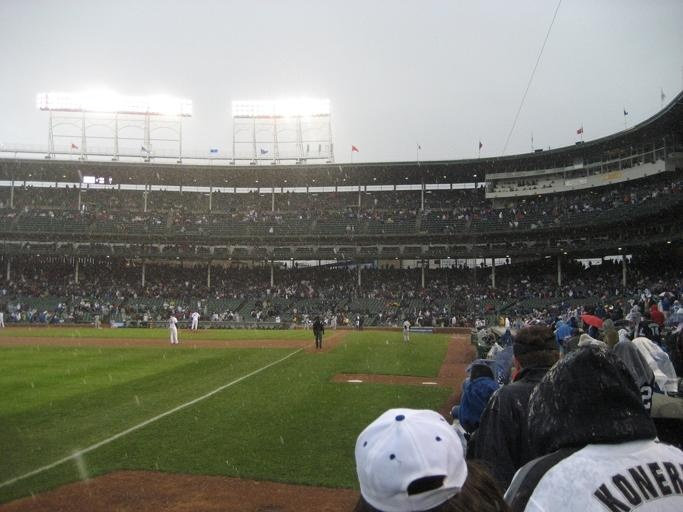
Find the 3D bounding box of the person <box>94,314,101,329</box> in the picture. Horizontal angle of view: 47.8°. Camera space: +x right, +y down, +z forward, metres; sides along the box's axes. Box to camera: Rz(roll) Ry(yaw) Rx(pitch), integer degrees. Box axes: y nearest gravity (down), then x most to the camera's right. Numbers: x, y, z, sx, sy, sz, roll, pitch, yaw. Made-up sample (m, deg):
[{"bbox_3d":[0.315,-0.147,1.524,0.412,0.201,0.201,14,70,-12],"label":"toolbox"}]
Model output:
[{"bbox_3d":[-18.238,4.955,57.866,0.474,1.158,0.445,-2,20,-12],"label":"person"}]
